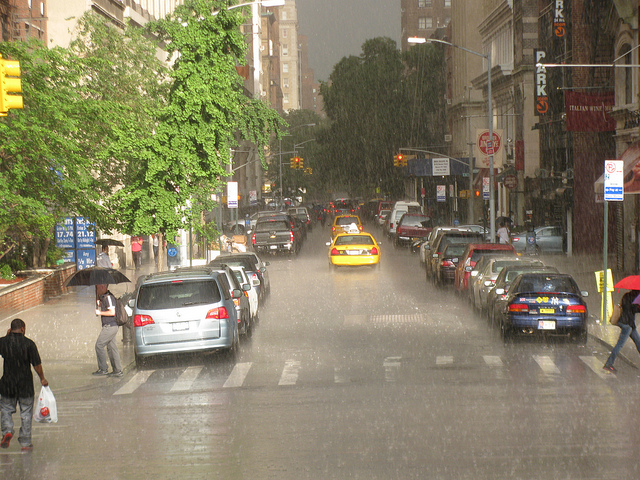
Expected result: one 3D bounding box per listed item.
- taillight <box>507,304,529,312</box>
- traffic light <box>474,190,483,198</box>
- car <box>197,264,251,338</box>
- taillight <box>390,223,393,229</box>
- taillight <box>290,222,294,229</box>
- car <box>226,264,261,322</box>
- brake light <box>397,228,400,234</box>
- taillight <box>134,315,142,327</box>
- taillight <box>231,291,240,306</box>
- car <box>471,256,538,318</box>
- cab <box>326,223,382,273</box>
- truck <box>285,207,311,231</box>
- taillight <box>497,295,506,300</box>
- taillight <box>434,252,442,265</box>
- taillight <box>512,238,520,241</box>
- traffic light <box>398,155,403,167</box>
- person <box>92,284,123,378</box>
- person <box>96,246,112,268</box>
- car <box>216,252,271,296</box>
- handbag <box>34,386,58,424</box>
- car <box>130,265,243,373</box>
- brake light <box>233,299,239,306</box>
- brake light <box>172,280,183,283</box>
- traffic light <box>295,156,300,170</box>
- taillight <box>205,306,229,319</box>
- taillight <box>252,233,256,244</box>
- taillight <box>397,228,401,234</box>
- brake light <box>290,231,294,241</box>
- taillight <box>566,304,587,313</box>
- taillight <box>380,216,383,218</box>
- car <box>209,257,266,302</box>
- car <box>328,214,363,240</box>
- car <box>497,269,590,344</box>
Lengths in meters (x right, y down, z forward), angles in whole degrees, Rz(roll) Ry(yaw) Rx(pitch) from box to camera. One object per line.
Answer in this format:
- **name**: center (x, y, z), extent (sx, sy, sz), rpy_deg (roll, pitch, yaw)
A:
- **taillight**: center (4.476, 1.530, 16.547), extent (0.476, 0.175, 0.055), rpy_deg (-2, 4, 34)
- **traffic light**: center (12.295, -3.668, 56.928), extent (0.473, 1.167, 1.030), rpy_deg (-3, 0, 25)
- **car**: center (-2.224, 1.330, 18.470), extent (0.867, 1.041, 1.757), rpy_deg (0, 7, 5)
- **taillight**: center (5.445, -1.107, 55.826), extent (0.141, 0.415, 0.602), rpy_deg (-4, 4, -12)
- **taillight**: center (-1.720, -0.927, 45.157), extent (0.076, 0.322, 0.283), rpy_deg (-5, -6, -2)
- **car**: center (-2.141, 1.544, 20.935), extent (0.872, 0.988, 1.665), rpy_deg (1, 8, 7)
- **brake light**: center (5.136, -0.637, 47.639), extent (0.050, 0.331, 0.194), rpy_deg (-4, 4, -18)
- **taillight**: center (-3.788, 1.674, 15.226), extent (0.119, 0.259, 0.100), rpy_deg (0, 3, -17)
- **taillight**: center (-2.041, 1.422, 17.528), extent (0.233, 0.306, 0.202), rpy_deg (-2, 5, 6)
- **car**: center (4.886, 1.267, 20.886), extent (1.027, 0.903, 2.318), rpy_deg (-1, 6, 2)
- **cab**: center (1.630, 0.366, 34.464), extent (1.898, 2.124, 2.794), rpy_deg (-1, 2, 1)
- **truck**: center (-1.789, -2.086, 68.324), extent (1.257, 1.656, 2.511), rpy_deg (0, 12, 9)
- **taillight**: center (4.403, 1.385, 17.714), extent (0.110, 0.071, 0.166), rpy_deg (-6, 4, 8)
- **taillight**: center (4.617, 0.710, 28.732), extent (0.148, 0.381, 0.329), rpy_deg (1, 3, -2)
- **taillight**: center (11.605, -0.060, 43.521), extent (0.264, 0.234, 0.685), rpy_deg (0, 7, 43)
- **traffic light**: center (7.064, -7.111, 64.731), extent (0.382, 0.881, 0.703), rpy_deg (-2, 5, 21)
- **person**: center (-4.493, 1.851, 15.403), extent (0.550, 1.905, 1.345), rpy_deg (-4, 4, -17)
- **person**: center (-7.353, 0.537, 24.968), extent (0.354, 0.744, 1.546), rpy_deg (-5, 4, -16)
- **car**: center (-2.332, 1.068, 25.373), extent (1.146, 1.301, 2.132), rpy_deg (0, 10, 9)
- **handbag**: center (-3.867, 2.338, 10.351), extent (0.251, 0.535, 0.227), rpy_deg (-5, -8, -5)
- **car**: center (-2.841, 1.664, 16.026), extent (1.404, 1.432, 2.699), rpy_deg (-1, 8, 0)
- **brake light**: center (-1.989, 1.481, 17.549), extent (0.097, 0.117, 0.185), rpy_deg (-1, -6, -4)
- **brake light**: center (-2.979, 0.855, 15.347), extent (0.208, 0.060, 0.047), rpy_deg (-6, 4, -9)
- **traffic light**: center (-2.566, -8.841, 83.126), extent (0.544, 1.081, 1.051), rpy_deg (-4, 4, -1)
- **taillight**: center (-2.161, 1.540, 15.366), extent (0.444, 0.247, 0.075), rpy_deg (-6, 4, -11)
- **taillight**: center (-4.041, -0.111, 44.513), extent (0.186, 0.652, 0.317), rpy_deg (-7, 5, -43)
- **taillight**: center (5.146, -0.619, 47.647), extent (0.087, 0.370, 0.313), rpy_deg (-6, 5, -39)
- **brake light**: center (-1.684, -0.264, 44.525), extent (0.343, 0.437, 0.092), rpy_deg (0, -8, -35)
- **taillight**: center (5.761, 1.534, 16.430), extent (0.503, 0.220, 0.100), rpy_deg (-6, 5, -17)
- **taillight**: center (6.023, -2.341, 72.121), extent (0.312, 0.231, 0.208), rpy_deg (0, 5, 18)
- **car**: center (-2.419, 1.095, 24.385), extent (0.875, 1.053, 1.767), rpy_deg (0, 8, 9)
- **car**: center (1.681, -0.906, 48.957), extent (1.665, 1.606, 4.067), rpy_deg (-1, 11, 3)
- **car**: center (5.049, 1.558, 16.794), extent (1.075, 1.155, 2.191), rpy_deg (0, 8, 6)
